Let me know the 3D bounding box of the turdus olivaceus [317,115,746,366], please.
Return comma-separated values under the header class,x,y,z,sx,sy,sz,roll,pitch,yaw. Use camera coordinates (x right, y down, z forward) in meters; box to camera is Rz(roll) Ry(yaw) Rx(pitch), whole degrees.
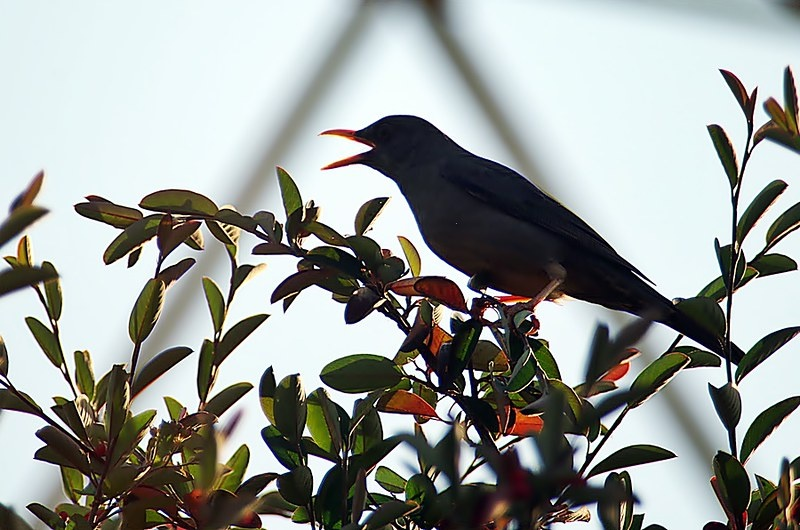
class,x,y,z,sx,sy,sz,roll,pitch,yaw
turdus olivaceus,0.515,-0.138,5.207,1.718,0.852,0.530,6,-29,-17
